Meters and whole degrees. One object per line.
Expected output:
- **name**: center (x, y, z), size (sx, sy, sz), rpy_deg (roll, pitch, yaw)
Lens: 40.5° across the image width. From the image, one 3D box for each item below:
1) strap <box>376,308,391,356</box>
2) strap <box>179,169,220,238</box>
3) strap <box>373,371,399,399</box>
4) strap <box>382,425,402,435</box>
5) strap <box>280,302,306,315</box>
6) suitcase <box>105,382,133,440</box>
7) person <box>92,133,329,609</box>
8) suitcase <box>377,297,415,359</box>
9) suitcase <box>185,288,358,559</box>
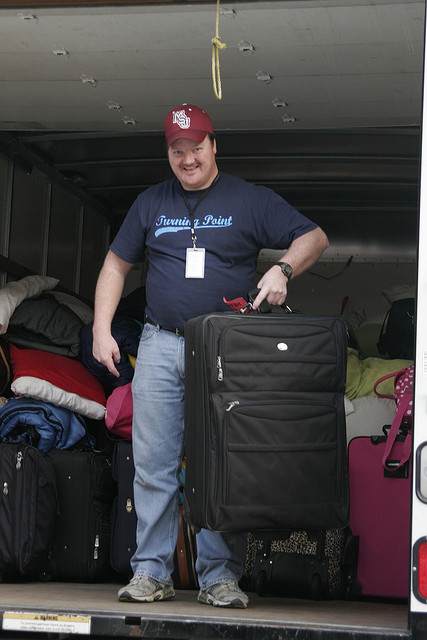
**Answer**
- **strap**: center (1.152, 0.107, 3.976), size (0.071, 0.246, 0.189), rpy_deg (16, 0, 14)
- **strap**: center (-0.064, -0.393, 1.958), size (0.082, 0.221, 0.027), rpy_deg (1, -23, 22)
- **strap**: center (0.791, 0.302, 2.660), size (0.119, 0.149, 0.039), rpy_deg (1, 4, -32)
- **strap**: center (0.694, 0.435, 2.276), size (0.050, 0.041, 0.038), rpy_deg (-2, 6, -7)
- **strap**: center (0.477, -0.068, 3.403), size (0.135, 0.056, 0.179), rpy_deg (17, -1, -8)
- **suitcase**: center (-0.441, 0.414, 2.778), size (0.183, 0.295, 0.198), rpy_deg (-2, 9, -16)
- **person**: center (-0.043, 0.127, 1.953), size (0.851, 1.681, 0.504), rpy_deg (3, 1, 20)
- **suitcase**: center (1.191, 0.072, 3.779), size (0.232, 0.433, 0.275), rpy_deg (1, 7, 5)
- **suitcase**: center (0.140, 0.291, 1.671), size (0.443, 0.643, 0.357), rpy_deg (4, -4, -21)
